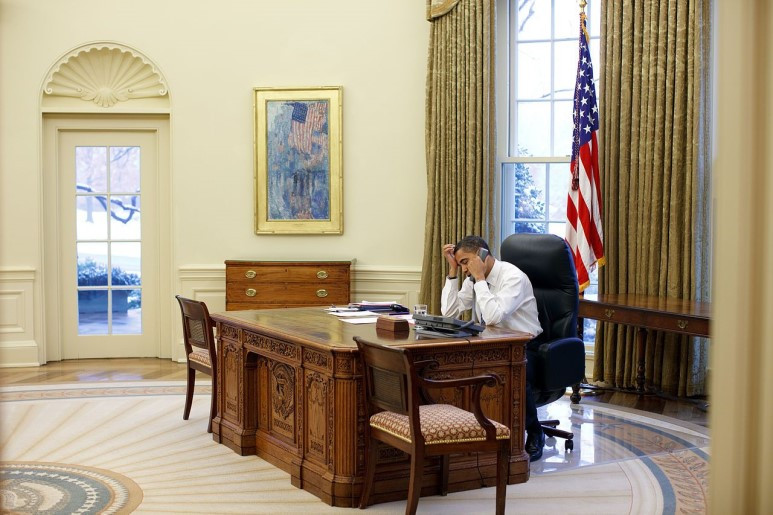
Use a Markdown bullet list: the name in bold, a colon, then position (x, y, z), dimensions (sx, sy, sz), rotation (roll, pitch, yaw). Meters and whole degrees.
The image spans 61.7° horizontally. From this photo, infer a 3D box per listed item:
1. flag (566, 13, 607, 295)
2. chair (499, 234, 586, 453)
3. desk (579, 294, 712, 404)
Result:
- **flag**: position (1.982, -1.051, 6.378), dimensions (0.361, 2.724, 0.463), rotation (-1, 7, -8)
- **chair**: position (1.015, 0.634, 5.007), dimensions (0.998, 1.578, 0.968), rotation (0, 3, 16)
- **desk**: position (2.377, 0.860, 5.868), dimensions (1.166, 1.002, 1.070), rotation (5, 8, 38)
